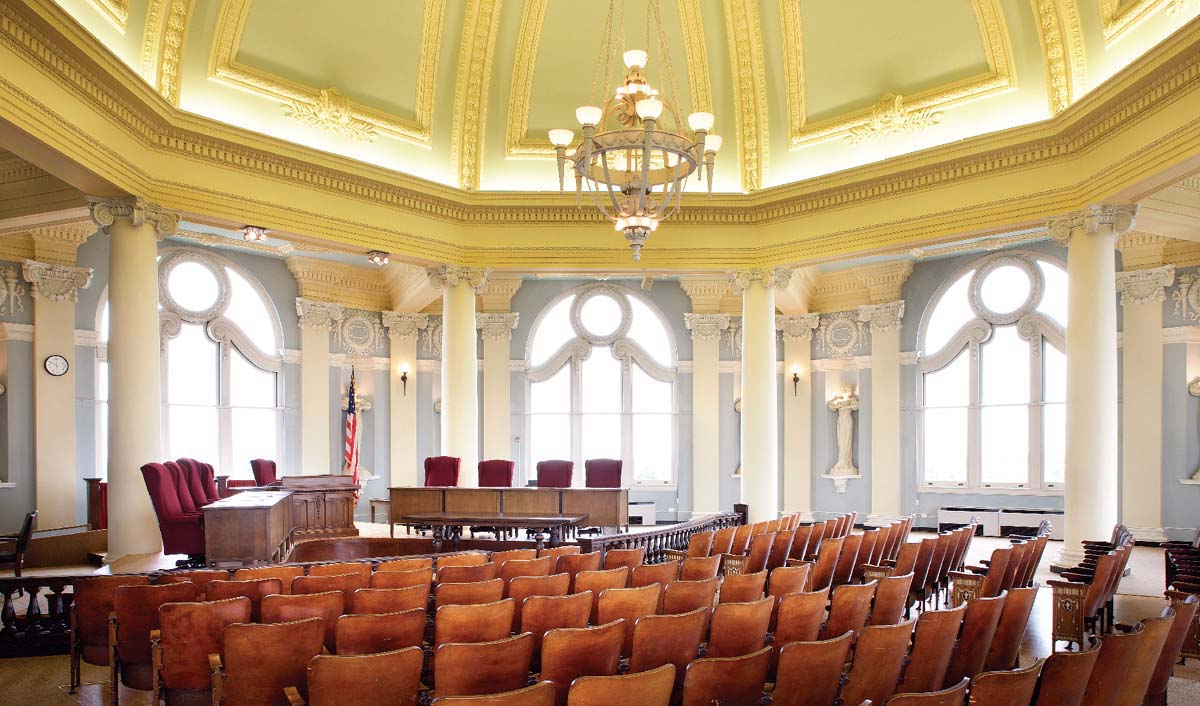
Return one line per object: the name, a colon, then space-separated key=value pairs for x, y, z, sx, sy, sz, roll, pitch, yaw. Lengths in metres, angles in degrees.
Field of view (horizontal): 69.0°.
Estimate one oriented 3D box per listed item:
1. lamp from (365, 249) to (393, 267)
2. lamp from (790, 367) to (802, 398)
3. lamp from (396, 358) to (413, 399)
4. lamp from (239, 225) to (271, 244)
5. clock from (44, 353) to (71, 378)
lamp: x=-4.185 y=-1.802 z=16.447 sx=0.409 sy=0.138 sz=0.402 roll=-4 pitch=-8 yaw=31
lamp: x=4.392 y=0.648 z=19.644 sx=0.236 sy=0.575 sz=0.090 roll=-1 pitch=-9 yaw=14
lamp: x=-4.435 y=0.554 z=19.698 sx=0.326 sy=0.772 sz=0.100 roll=3 pitch=-9 yaw=-17
lamp: x=-5.981 y=-2.069 z=15.100 sx=0.437 sy=0.104 sz=0.411 roll=-4 pitch=-12 yaw=17
clock: x=-9.688 y=0.225 z=15.565 sx=0.088 sy=0.342 sz=0.367 roll=-3 pitch=-9 yaw=36
